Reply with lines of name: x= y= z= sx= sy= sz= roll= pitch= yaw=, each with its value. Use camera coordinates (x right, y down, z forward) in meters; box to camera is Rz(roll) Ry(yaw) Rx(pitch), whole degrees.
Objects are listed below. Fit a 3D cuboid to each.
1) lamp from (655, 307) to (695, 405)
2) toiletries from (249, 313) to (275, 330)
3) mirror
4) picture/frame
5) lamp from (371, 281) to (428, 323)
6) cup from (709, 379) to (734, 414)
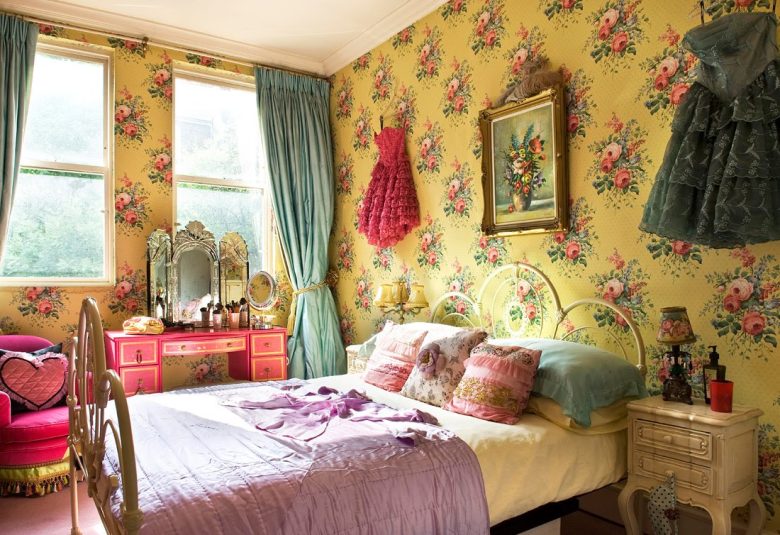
lamp: x=1.579 y=0.444 z=3.042 sx=0.181 sy=0.501 sz=0.356 roll=5 pitch=11 yaw=27
toiletries: x=-1.194 y=0.508 z=5.127 sx=0.160 sy=0.064 sz=0.153 roll=3 pitch=4 yaw=32
mirror: x=-1.768 y=0.100 z=4.976 sx=0.951 sy=1.057 sz=0.145 roll=-1 pitch=6 yaw=-29
picture/frame: x=0.939 y=-0.723 z=3.896 sx=0.171 sy=1.010 sz=0.771 roll=-10 pitch=14 yaw=-42
lamp: x=0.088 y=0.270 z=4.626 sx=0.377 sy=0.464 sz=0.390 roll=-1 pitch=-1 yaw=-2
cup: x=1.681 y=0.645 z=2.810 sx=0.146 sy=0.158 sz=0.136 roll=3 pitch=0 yaw=0
